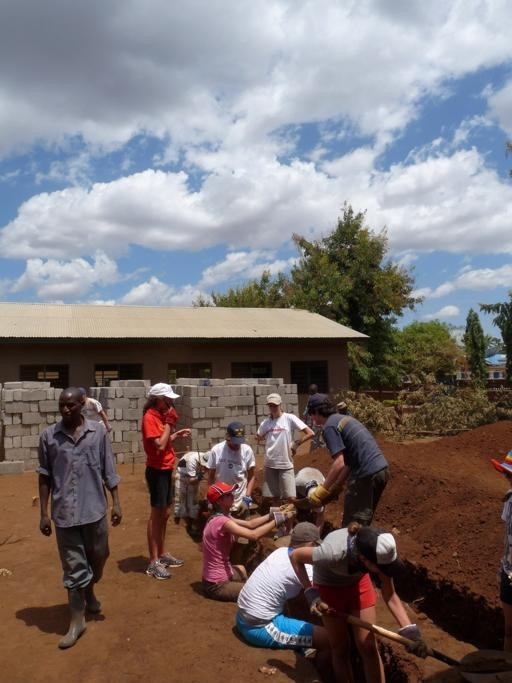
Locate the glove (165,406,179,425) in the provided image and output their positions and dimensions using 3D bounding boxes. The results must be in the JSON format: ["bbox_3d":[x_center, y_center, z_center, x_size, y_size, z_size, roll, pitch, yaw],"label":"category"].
[{"bbox_3d":[-0.834,0.692,5.074,0.096,0.264,0.191,-3,-19,-14],"label":"glove"}]

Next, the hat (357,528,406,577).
[{"bbox_3d":[0.684,1.154,2.854,0.173,0.164,0.278,-18,50,-39],"label":"hat"}]

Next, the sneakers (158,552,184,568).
[{"bbox_3d":[-0.906,2.341,5.457,0.295,0.135,0.113,4,2,-14],"label":"sneakers"}]

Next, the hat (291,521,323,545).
[{"bbox_3d":[0.384,1.388,3.682,0.143,0.116,0.197,2,0,45],"label":"hat"}]

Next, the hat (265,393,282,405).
[{"bbox_3d":[0.243,0.718,6.587,0.194,0.148,0.283,-2,-17,8],"label":"hat"}]

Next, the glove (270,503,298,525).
[{"bbox_3d":[0.263,1.460,4.286,0.257,0.095,0.207,-8,15,-24],"label":"glove"}]

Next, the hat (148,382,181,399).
[{"bbox_3d":[-0.933,0.495,5.067,0.378,0.212,0.268,0,-1,-14],"label":"hat"}]

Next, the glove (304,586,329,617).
[{"bbox_3d":[0.398,1.683,3.294,0.141,0.100,0.191,8,2,5],"label":"glove"}]

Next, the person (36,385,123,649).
[{"bbox_3d":[-1.305,1.263,3.711,0.627,1.814,0.319,7,-5,-22],"label":"person"}]

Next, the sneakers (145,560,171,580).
[{"bbox_3d":[-0.980,2.306,5.146,0.329,0.152,0.129,-11,-17,43],"label":"sneakers"}]

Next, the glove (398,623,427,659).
[{"bbox_3d":[0.891,1.669,2.867,0.119,0.082,0.196,-6,-1,-4],"label":"glove"}]
